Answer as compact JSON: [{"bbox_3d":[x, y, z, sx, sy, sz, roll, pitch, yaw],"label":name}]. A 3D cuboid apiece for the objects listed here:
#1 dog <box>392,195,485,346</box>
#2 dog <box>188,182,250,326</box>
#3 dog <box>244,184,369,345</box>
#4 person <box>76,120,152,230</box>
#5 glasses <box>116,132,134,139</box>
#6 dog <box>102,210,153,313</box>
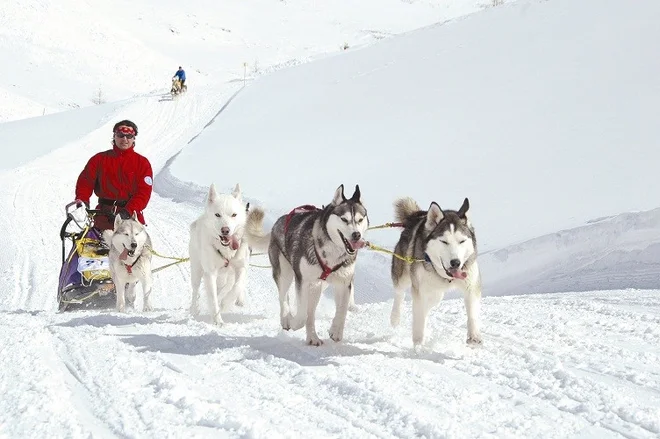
[{"bbox_3d":[1.423,0.636,7.862,0.871,1.980,1.422,-4,12,-29],"label":"dog"},{"bbox_3d":[-1.732,0.514,8.899,0.954,2.262,1.421,-2,11,-19],"label":"dog"},{"bbox_3d":[-0.259,0.597,7.781,1.598,2.242,0.853,12,15,43],"label":"dog"},{"bbox_3d":[-3.621,-0.800,9.336,1.168,1.687,0.875,-2,11,-20],"label":"person"},{"bbox_3d":[-3.496,-1.452,9.510,0.331,0.092,0.136,-7,14,-38],"label":"glasses"},{"bbox_3d":[-3.308,0.718,9.093,0.721,1.651,0.630,3,11,4],"label":"dog"}]
